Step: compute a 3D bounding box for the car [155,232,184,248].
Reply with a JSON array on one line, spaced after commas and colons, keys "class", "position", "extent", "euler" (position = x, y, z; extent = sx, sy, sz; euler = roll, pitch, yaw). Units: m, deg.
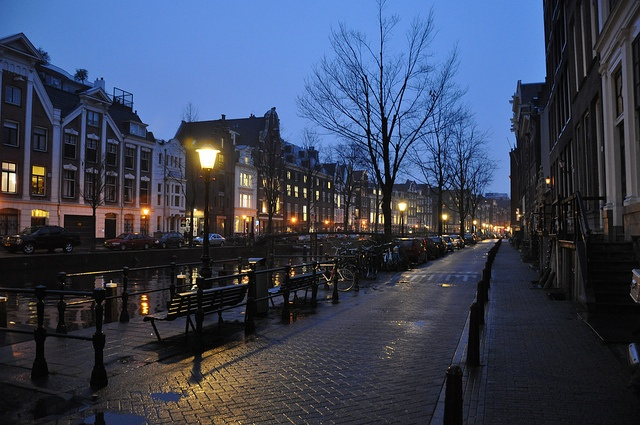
[{"class": "car", "position": [-12.492, 2.230, 46.566], "extent": [1.105, 1.313, 2.913], "euler": [-6, -6, 29]}]

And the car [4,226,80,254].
[{"class": "car", "position": [-16.837, 1.823, 34.322], "extent": [1.517, 1.334, 3.254], "euler": [-6, -11, 28]}]

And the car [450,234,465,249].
[{"class": "car", "position": [14.312, 2.955, 59.213], "extent": [1.050, 0.901, 2.539], "euler": [-2, -9, 17]}]

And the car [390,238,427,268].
[{"class": "car", "position": [5.463, 2.190, 33.212], "extent": [1.094, 0.984, 2.559], "euler": [-1, 5, 18]}]

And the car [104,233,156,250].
[{"class": "car", "position": [-13.921, 2.109, 41.261], "extent": [1.258, 0.954, 2.978], "euler": [-3, -10, 26]}]

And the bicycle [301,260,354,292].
[{"class": "bicycle", "position": [0.447, 2.543, 22.504], "extent": [1.866, 1.236, 1.038], "euler": [2, 1, 14]}]

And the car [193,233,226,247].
[{"class": "car", "position": [-8.725, 2.178, 44.921], "extent": [1.267, 1.122, 2.986], "euler": [-5, -12, 25]}]
